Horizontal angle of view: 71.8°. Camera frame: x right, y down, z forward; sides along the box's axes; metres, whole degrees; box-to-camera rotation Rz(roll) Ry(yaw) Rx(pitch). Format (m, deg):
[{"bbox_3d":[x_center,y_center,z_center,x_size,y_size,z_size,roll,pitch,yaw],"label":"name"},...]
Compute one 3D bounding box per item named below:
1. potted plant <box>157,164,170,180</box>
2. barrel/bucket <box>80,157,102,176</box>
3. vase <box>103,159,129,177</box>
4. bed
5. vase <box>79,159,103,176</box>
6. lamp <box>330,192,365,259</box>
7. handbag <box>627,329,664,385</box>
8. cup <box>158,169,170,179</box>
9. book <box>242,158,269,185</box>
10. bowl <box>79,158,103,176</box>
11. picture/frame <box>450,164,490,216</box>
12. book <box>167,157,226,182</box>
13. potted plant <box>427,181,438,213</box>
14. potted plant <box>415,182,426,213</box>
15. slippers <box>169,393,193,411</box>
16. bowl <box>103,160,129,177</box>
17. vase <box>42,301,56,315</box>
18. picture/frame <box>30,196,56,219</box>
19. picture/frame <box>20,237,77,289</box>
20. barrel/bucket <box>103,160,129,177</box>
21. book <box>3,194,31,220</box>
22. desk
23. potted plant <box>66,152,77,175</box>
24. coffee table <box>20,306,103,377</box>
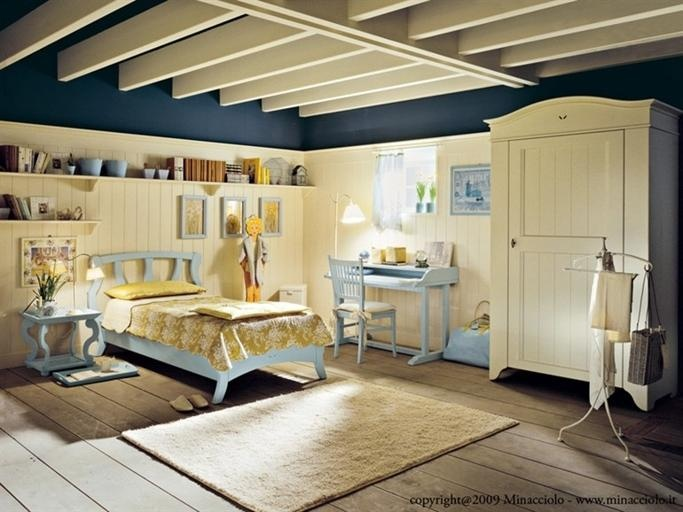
[{"bbox_3d":[-2.233,-1.052,5.923,0.158,0.174,0.157,-1,0,32],"label":"potted plant"},{"bbox_3d":[-2.869,-1.023,5.402,0.229,0.158,0.220,-1,-2,0],"label":"barrel/bucket"},{"bbox_3d":[-2.676,-1.036,5.573,0.244,0.160,0.236,0,-3,-12],"label":"vase"},{"bbox_3d":[-1.608,0.518,5.192,2.405,1.087,1.435,6,6,41],"label":"bed"},{"bbox_3d":[-2.871,-1.008,5.436,0.229,0.160,0.229,1,2,36],"label":"vase"},{"bbox_3d":[0.111,-0.447,6.703,0.451,0.949,0.743,0,4,-5],"label":"lamp"},{"bbox_3d":[2.213,0.725,3.434,0.306,0.408,0.170,-3,6,-39],"label":"handbag"},{"bbox_3d":[-2.232,-1.023,5.920,0.128,0.140,0.127,-1,0,0],"label":"cup"},{"bbox_3d":[-1.231,-1.197,6.709,0.228,0.396,0.437,-1,3,-40],"label":"book"},{"bbox_3d":[-2.868,-1.019,5.400,0.231,0.160,0.227,0,1,0],"label":"bowl"},{"bbox_3d":[1.549,-0.795,5.605,0.668,0.589,0.067,2,2,43],"label":"picture/frame"},{"bbox_3d":[-1.899,-1.133,6.247,0.751,0.302,0.160,-3,6,-40],"label":"book"},{"bbox_3d":[1.122,-0.747,5.954,0.084,0.400,0.155,-2,5,-34],"label":"potted plant"},{"bbox_3d":[1.026,-0.760,6.088,0.118,0.404,0.263,1,4,8],"label":"potted plant"},{"bbox_3d":[-1.388,1.274,4.109,0.108,0.076,0.184,-5,3,-38],"label":"slippers"},{"bbox_3d":[-2.676,-1.035,5.623,0.233,0.159,0.232,-1,-6,0],"label":"bowl"},{"bbox_3d":[-3.079,0.548,4.976,0.139,0.129,0.137,-1,-2,34],"label":"vase"},{"bbox_3d":[-3.309,-0.537,5.221,0.032,0.303,0.275,4,4,43],"label":"picture/frame"},{"bbox_3d":[-3.294,0.061,5.266,0.595,0.560,0.057,-5,10,-43],"label":"picture/frame"},{"bbox_3d":[-2.683,-1.046,5.658,0.269,0.220,0.242,-3,5,-34],"label":"barrel/bucket"},{"bbox_3d":[-3.449,-0.524,5.034,0.070,0.255,0.265,-17,18,-30],"label":"book"},{"bbox_3d":[0.821,0.668,5.851,1.035,1.109,0.876,4,5,36],"label":"desk"},{"bbox_3d":[-3.059,-1.044,5.367,0.096,0.257,0.252,-2,5,-29],"label":"potted plant"},{"bbox_3d":[-3.017,0.941,5.255,0.684,0.758,0.868,0,0,43],"label":"coffee table"}]
